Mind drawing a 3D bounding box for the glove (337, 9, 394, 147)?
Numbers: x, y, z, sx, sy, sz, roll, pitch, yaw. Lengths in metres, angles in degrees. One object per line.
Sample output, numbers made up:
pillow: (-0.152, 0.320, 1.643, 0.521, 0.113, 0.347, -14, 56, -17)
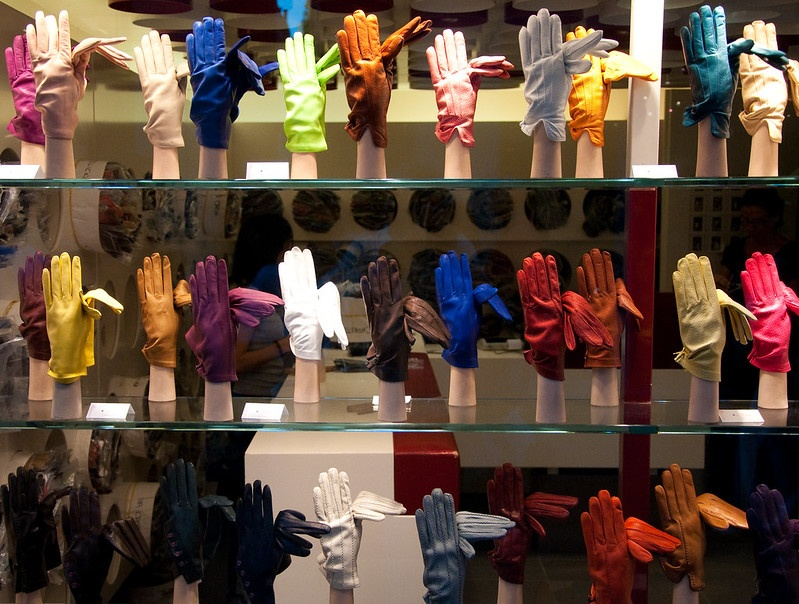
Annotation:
glove: (-0.090, -0.594, 2.203, 0.150, 0.351, 0.100, -1, 12, -5)

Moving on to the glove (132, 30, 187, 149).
glove: (-0.648, -0.577, 2.238, 0.126, 0.305, 0.112, -2, 12, -11)

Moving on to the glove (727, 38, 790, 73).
glove: (0.952, -0.642, 2.151, 0.175, 0.084, 0.069, -3, 13, -12)

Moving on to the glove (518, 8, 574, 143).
glove: (0.400, -0.603, 2.192, 0.173, 0.420, 0.080, -8, -30, 26)

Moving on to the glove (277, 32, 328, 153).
glove: (-0.267, -0.573, 2.257, 0.123, 0.318, 0.177, -1, 12, -6)

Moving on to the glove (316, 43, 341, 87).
glove: (-0.192, -0.650, 2.263, 0.032, 0.116, 0.108, 24, 12, 14)

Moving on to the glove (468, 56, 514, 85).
glove: (0.239, -0.603, 2.210, 0.082, 0.044, 0.098, -4, 7, -39)

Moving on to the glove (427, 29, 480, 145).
glove: (0.146, -0.578, 2.226, 0.136, 0.306, 0.106, 3, 12, 13)

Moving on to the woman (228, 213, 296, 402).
woman: (-0.480, 0.028, 2.827, 0.180, 0.697, 0.203, 17, 20, 28)

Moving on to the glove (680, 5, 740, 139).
glove: (0.825, -0.612, 2.190, 0.140, 0.345, 0.123, 5, 13, 23)

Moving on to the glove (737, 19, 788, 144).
glove: (0.986, -0.608, 2.251, 0.176, 0.305, 0.077, 8, 18, 12)

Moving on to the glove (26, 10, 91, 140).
glove: (-0.923, -0.605, 2.234, 0.153, 0.390, 0.115, -6, -22, -16)
